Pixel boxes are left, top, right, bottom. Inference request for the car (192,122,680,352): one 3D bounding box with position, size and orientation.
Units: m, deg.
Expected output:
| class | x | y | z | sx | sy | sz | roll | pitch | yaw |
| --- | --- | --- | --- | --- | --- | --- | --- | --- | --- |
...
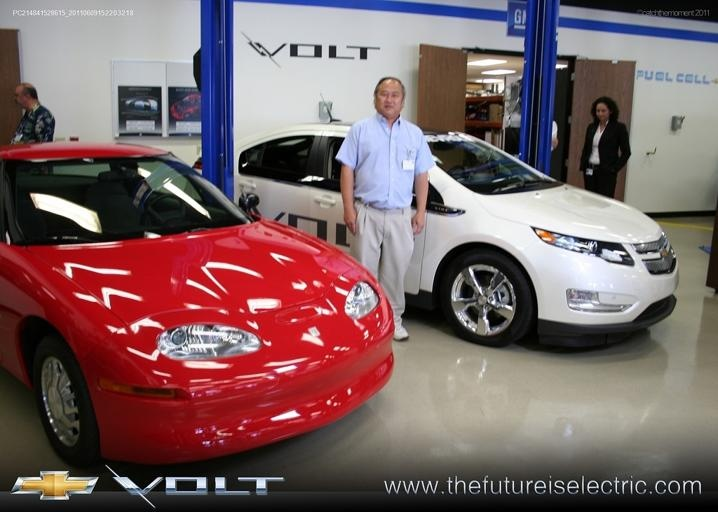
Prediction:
| class | x | y | z | sx | sy | sz | roll | pitch | yaw |
| --- | --- | --- | --- | --- | --- | --- | --- | --- | --- |
| car | 0.622 | -0.208 | 4.432 | 3.865 | 1.400 | 1.744 | 6 | 15 | 29 |
